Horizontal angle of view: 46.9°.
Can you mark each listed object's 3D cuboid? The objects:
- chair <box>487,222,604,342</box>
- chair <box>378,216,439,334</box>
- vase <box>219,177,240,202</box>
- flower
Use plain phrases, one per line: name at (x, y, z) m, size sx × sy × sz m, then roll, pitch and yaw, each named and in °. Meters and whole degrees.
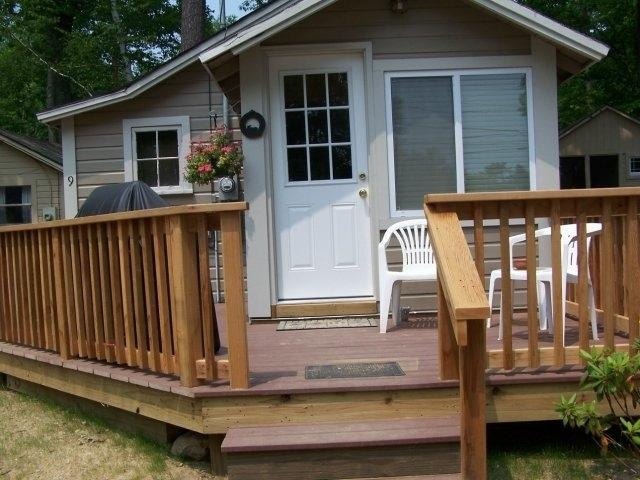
chair at (1.928, 0.390, 6.581) m, size 0.692 × 0.995 × 0.705 m, roll 2°, pitch -1°, yaw 28°
chair at (0.840, 0.288, 7.321) m, size 0.843 × 1.313 × 0.914 m, roll 0°, pitch -1°, yaw 0°
vase at (-1.120, -0.629, 9.012) m, size 0.244 × 0.367 × 0.271 m, roll 0°, pitch 1°, yaw -6°
flower at (-1.286, -0.957, 8.841) m, size 0.760 × 0.691 × 0.777 m, roll -16°, pitch 13°, yaw 2°
